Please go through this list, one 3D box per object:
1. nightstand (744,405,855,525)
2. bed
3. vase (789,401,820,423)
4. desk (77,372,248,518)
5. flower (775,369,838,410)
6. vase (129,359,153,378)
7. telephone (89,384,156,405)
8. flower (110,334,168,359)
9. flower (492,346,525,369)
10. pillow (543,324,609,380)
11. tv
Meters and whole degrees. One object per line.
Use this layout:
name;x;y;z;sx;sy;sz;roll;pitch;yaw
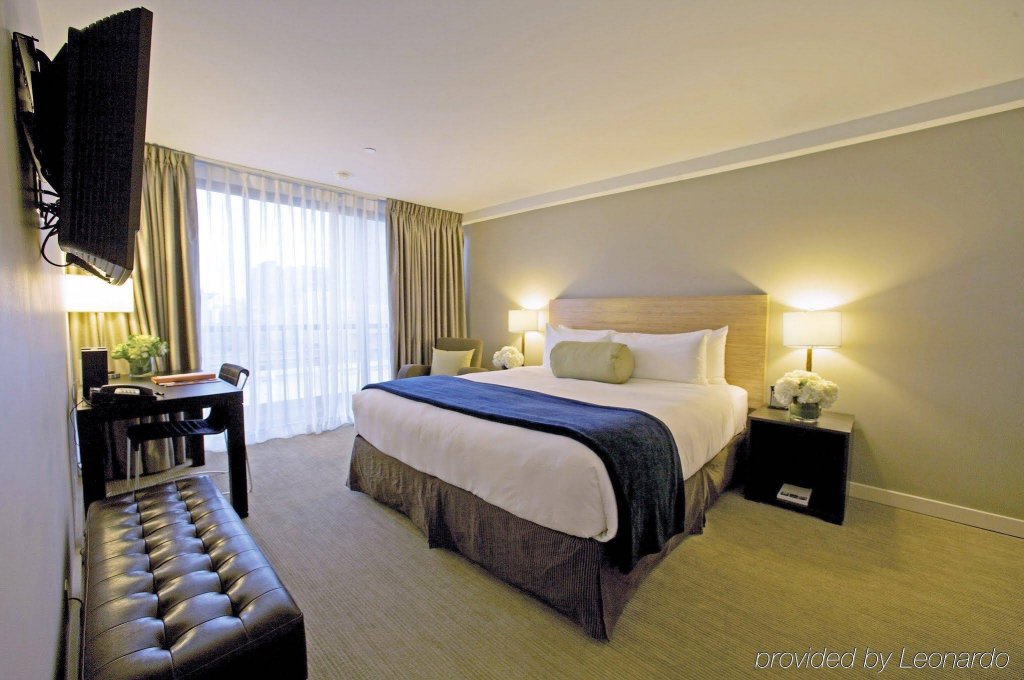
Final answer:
nightstand;2.207;0.985;5.190;0.825;0.825;0.776;3;2;39
bed;0.676;0.975;5.188;2.558;1.575;2.567;4;5;40
vase;2.218;0.550;4.994;0.158;0.153;0.159;-3;-3;30
desk;-2.523;0.766;5.097;1.000;0.864;1.009;-1;6;-11
flower;2.227;0.379;4.961;0.328;0.236;0.342;2;-2;-25
vase;-2.942;0.243;5.253;0.158;0.163;0.159;3;-8;-15
telephone;-2.672;0.381;4.534;0.395;0.095;0.339;0;3;-25
flower;-2.985;0.060;5.233;0.257;0.167;0.260;8;13;23
flower;-0.034;0.166;7.020;0.241;0.263;0.269;-10;-4;-40
pillow;0.569;0.090;6.415;0.148;0.479;0.496;23;-21;-38
tv;-2.247;-1.068;3.549;0.764;1.351;0.348;4;4;30
